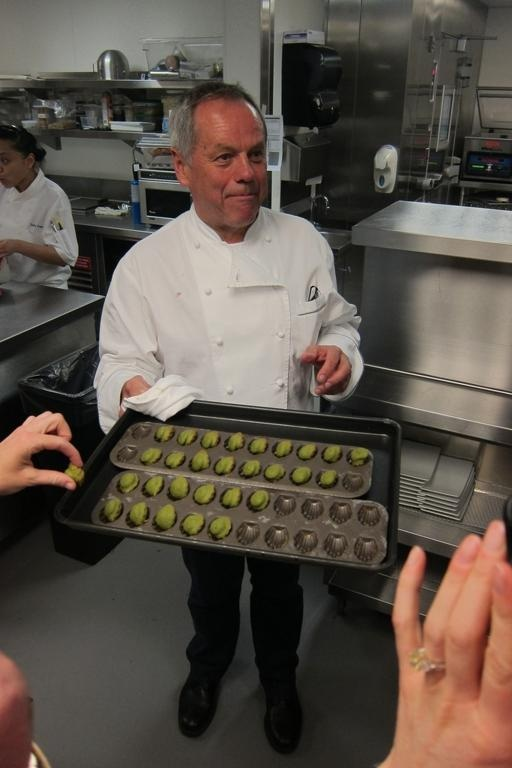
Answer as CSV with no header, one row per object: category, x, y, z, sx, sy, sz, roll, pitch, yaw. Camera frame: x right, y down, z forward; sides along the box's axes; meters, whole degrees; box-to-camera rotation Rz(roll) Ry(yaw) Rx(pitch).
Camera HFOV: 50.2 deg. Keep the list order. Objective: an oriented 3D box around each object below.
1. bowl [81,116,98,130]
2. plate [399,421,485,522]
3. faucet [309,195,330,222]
bowl,-1.259,-1.964,4.128,0.122,0.118,0.123,1,22,0
plate,0.600,0.286,1.795,0.255,0.147,0.315,7,28,15
faucet,0.439,-1.235,3.834,0.119,0.168,0.056,4,66,-2
